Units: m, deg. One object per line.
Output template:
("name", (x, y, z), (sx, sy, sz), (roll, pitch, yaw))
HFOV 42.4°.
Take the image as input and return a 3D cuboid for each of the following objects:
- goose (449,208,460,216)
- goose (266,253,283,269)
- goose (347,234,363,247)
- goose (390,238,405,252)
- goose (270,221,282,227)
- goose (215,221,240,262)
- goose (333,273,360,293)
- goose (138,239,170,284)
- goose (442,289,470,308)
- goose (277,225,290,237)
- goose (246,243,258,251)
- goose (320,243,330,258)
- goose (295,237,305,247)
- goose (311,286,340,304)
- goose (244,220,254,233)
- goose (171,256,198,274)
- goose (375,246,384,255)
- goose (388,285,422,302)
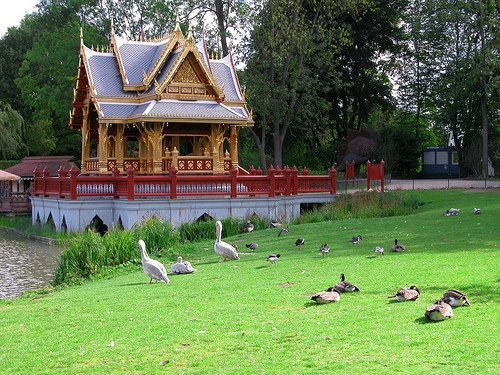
("goose", (8.099, 0.933, 25.121), (0.606, 0.302, 0.226), (-5, 7, -27))
("goose", (0.700, 1.983, 17.973), (0.203, 0.284, 0.380), (2, 6, 43))
("goose", (3.350, 1.614, 19.950), (0.553, 0.368, 0.179), (-4, 8, -33))
("goose", (4.261, 1.638, 18.482), (0.245, 0.436, 0.445), (2, 5, -1))
("goose", (1.072, 1.549, 27.177), (0.210, 0.343, 0.717), (-3, 2, -34))
("goose", (-0.711, 1.596, 19.276), (0.843, 1.111, 0.391), (6, 8, -3))
("goose", (2.293, 2.316, 15.045), (0.642, 0.260, 0.306), (0, -3, -3))
("goose", (-2.674, 2.000, 17.299), (0.988, 1.030, 0.437), (5, 2, 15))
("goose", (4.453, 2.347, 13.890), (0.317, 0.213, 0.465), (1, 4, -8))
("goose", (1.282, 1.631, 24.020), (0.182, 0.402, 0.697), (3, 3, 37))
("goose", (0.077, 1.919, 20.933), (0.293, 0.238, 0.223), (-2, -1, 19))
("goose", (2.203, 1.791, 18.715), (0.183, 0.313, 0.445), (-4, 12, 3))
("goose", (1.590, 1.730, 20.346), (0.272, 0.141, 0.226), (-15, 5, 0))
("goose", (1.769, 2.447, 14.631), (0.518, 0.323, 0.832), (-3, -4, 40))
("goose", (-0.044, 1.588, 26.835), (0.214, 0.228, 0.522), (2, 43, 3))
("goose", (-1.906, 2.212, 18.283), (0.628, 0.475, 0.668), (3, -5, -44))
("goose", (3.676, 1.765, 18.092), (0.120, 0.243, 0.402), (3, 1, 19))
("goose", (3.538, 2.355, 14.356), (0.490, 0.321, 0.364), (4, 1, -22))
